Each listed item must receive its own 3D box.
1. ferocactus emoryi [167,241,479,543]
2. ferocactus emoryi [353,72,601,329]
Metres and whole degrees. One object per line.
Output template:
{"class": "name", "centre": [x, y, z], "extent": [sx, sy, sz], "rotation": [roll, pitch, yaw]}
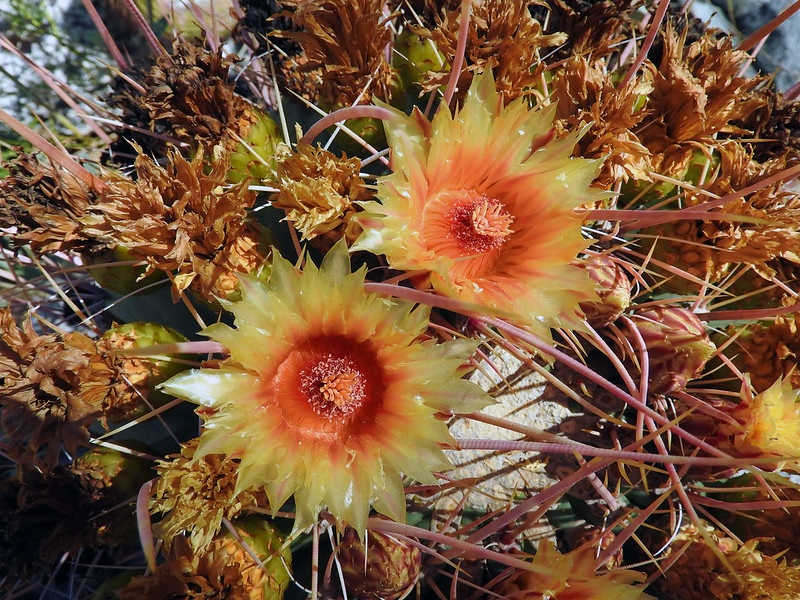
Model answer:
{"class": "ferocactus emoryi", "centre": [-0.097, 0.128, 1.107], "extent": [0.402, 0.125, 0.360], "rotation": [43, 81, 7]}
{"class": "ferocactus emoryi", "centre": [0.068, -0.123, 1.259], "extent": [0.396, 0.182, 0.366], "rotation": [-32, 101, -16]}
